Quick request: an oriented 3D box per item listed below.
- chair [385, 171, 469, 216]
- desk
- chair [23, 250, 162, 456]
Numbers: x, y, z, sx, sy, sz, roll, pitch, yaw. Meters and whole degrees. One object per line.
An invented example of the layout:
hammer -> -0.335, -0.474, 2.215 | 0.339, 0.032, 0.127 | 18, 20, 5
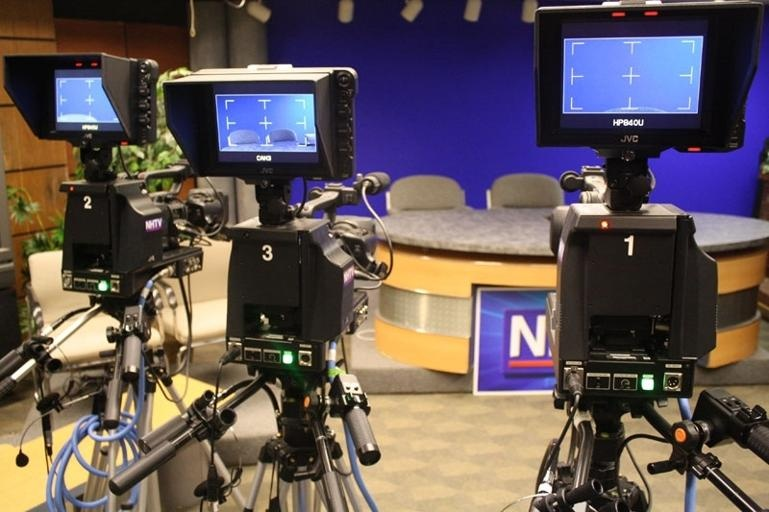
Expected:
chair -> 0.369, -0.577, 5.980 | 0.480, 0.586, 0.480 | -1, 1, -5
desk -> 1.408, 0.241, 4.808 | 2.959, 1.015, 2.095 | -1, 11, -10
chair -> -1.678, 0.475, 4.194 | 0.955, 1.246, 0.938 | -6, 9, -39
